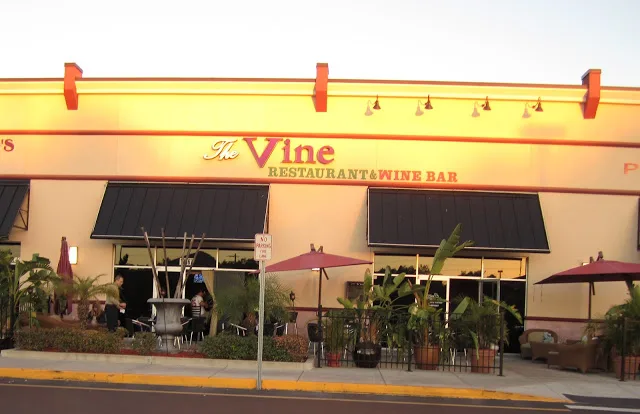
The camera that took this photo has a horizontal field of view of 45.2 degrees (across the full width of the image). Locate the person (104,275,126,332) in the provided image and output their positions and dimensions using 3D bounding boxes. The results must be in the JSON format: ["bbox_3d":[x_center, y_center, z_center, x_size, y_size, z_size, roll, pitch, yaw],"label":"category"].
[{"bbox_3d":[-7.987,3.914,30.146,0.733,2.448,0.789,2,14,-24],"label":"person"}]

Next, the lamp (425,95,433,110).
[{"bbox_3d":[4.669,-4.444,33.065,0.352,0.799,0.908,1,-13,7],"label":"lamp"}]

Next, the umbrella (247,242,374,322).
[{"bbox_3d":[-0.093,3.271,29.435,3.179,2.445,3.086,-1,3,44],"label":"umbrella"}]
